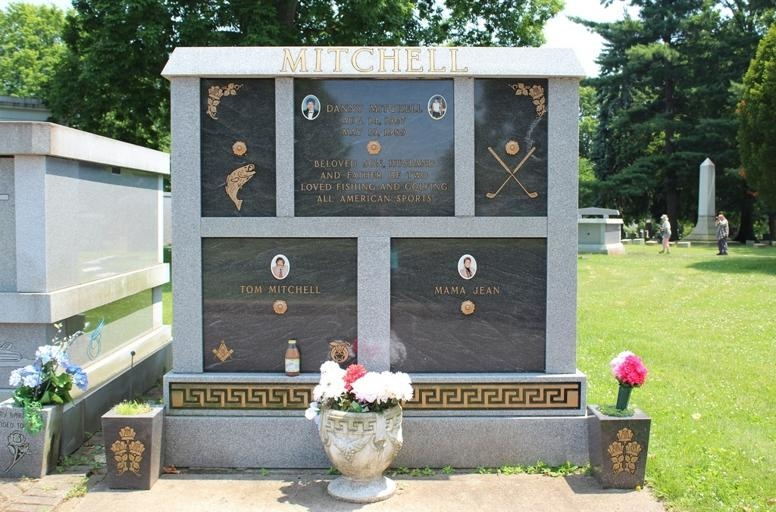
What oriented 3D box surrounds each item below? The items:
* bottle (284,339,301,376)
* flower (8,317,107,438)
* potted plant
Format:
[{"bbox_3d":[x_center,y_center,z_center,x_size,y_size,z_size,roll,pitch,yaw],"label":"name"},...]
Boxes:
[{"bbox_3d":[-1.535,1.609,11.890,0.272,0.579,0.171,-2,4,-6],"label":"bottle"},{"bbox_3d":[-5.475,1.886,12.030,1.188,1.547,1.489,-3,4,-26],"label":"flower"},{"bbox_3d":[-3.893,2.882,11.372,0.888,1.223,0.465,-2,4,-17],"label":"potted plant"}]
